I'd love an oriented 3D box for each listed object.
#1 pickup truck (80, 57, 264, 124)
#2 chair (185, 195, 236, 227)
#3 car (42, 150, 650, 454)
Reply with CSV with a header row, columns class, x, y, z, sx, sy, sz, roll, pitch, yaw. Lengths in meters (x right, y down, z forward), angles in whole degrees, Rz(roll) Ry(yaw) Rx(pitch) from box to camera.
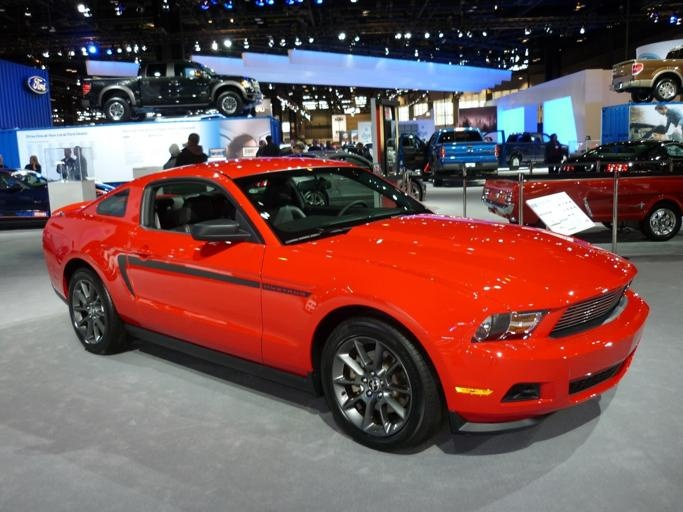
class,x,y,z,sx,sy,sz,roll,pitch,yaw
pickup truck,-7.045,-6.806,18.610,6.563,2.099,2.821,-1,19,-1
chair,-1.267,-0.447,4.267,0.443,0.332,0.413,0,3,-4
car,-0.512,0.156,4.062,5.116,1.587,2.425,7,14,30
